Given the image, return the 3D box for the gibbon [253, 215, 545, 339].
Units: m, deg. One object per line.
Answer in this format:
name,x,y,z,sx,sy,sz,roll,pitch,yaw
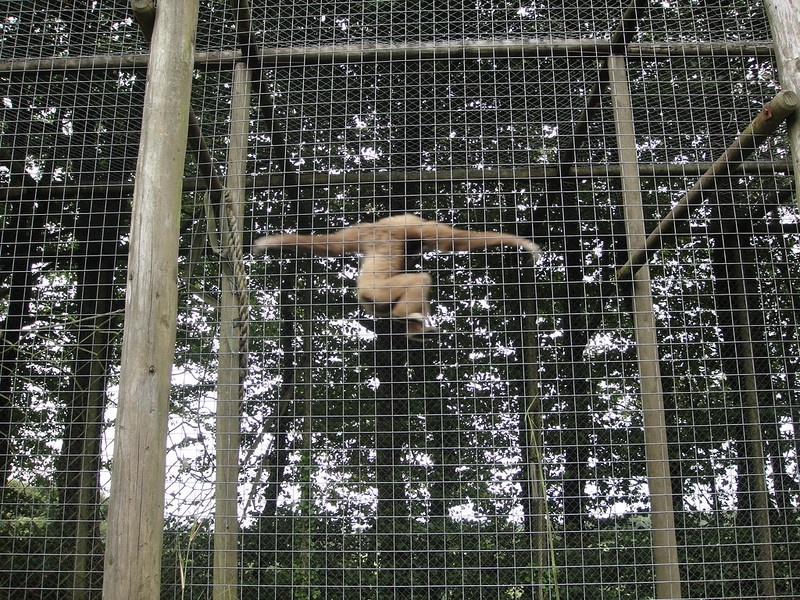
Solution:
gibbon,-0.071,-0.129,9.152,1.829,0.951,0.651,-2,-24,12
